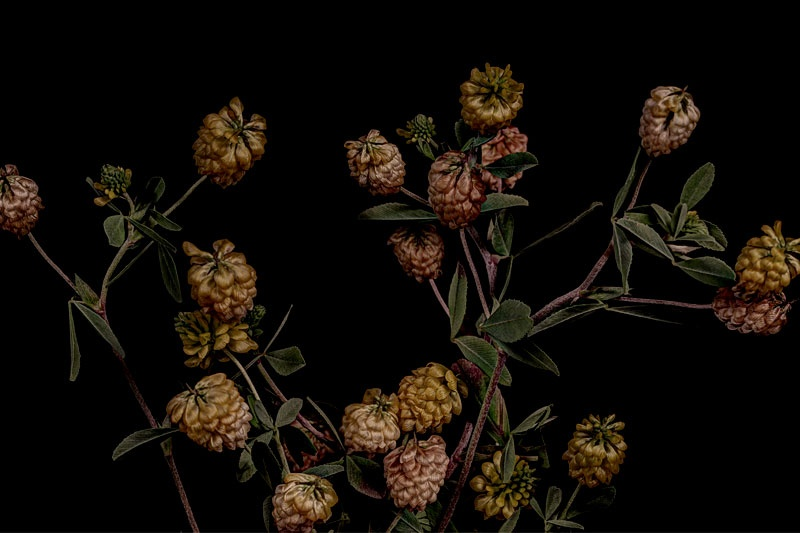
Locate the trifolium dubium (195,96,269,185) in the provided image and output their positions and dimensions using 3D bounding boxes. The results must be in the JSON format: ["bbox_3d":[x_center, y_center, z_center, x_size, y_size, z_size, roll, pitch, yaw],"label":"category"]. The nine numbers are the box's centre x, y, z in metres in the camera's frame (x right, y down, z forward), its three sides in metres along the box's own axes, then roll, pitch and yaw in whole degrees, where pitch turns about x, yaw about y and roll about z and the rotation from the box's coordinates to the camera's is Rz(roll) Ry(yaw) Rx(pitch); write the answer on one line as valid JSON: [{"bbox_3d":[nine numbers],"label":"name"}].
[{"bbox_3d":[-0.428,-0.314,2.385,0.189,0.224,0.088,-5,17,-11],"label":"trifolium dubium"}]

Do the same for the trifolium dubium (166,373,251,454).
[{"bbox_3d":[-0.465,0.355,2.414,0.178,0.184,0.196,-35,7,-12],"label":"trifolium dubium"}]

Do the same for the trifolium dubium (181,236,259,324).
[{"bbox_3d":[-0.432,0.042,2.261,0.145,0.166,0.106,-48,-3,-19],"label":"trifolium dubium"}]
